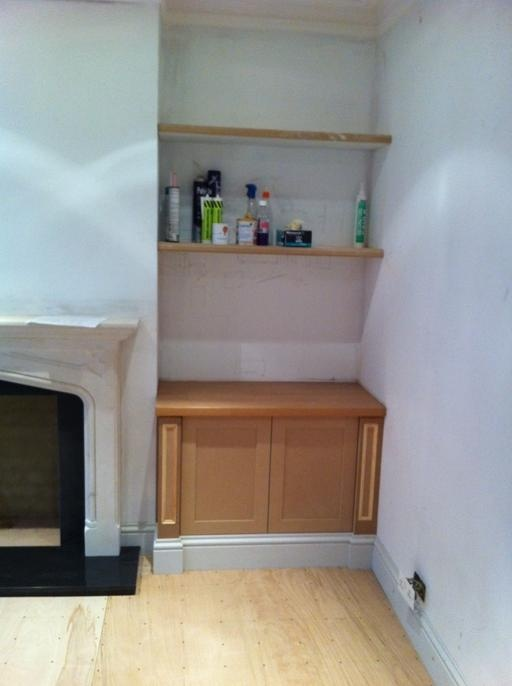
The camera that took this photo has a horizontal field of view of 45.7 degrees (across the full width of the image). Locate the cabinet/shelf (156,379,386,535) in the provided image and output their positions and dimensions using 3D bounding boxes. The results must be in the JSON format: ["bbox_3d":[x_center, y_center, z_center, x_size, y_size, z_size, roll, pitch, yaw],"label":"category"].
[{"bbox_3d":[0.027,0.514,2.570,0.898,0.571,0.502,1,3,-12],"label":"cabinet/shelf"}]

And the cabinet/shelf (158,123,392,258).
[{"bbox_3d":[0.069,-0.603,2.385,0.867,0.430,0.238,1,10,-5],"label":"cabinet/shelf"}]

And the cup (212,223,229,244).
[{"bbox_3d":[-0.134,-0.419,2.365,0.069,0.100,0.084,2,9,-2],"label":"cup"}]
